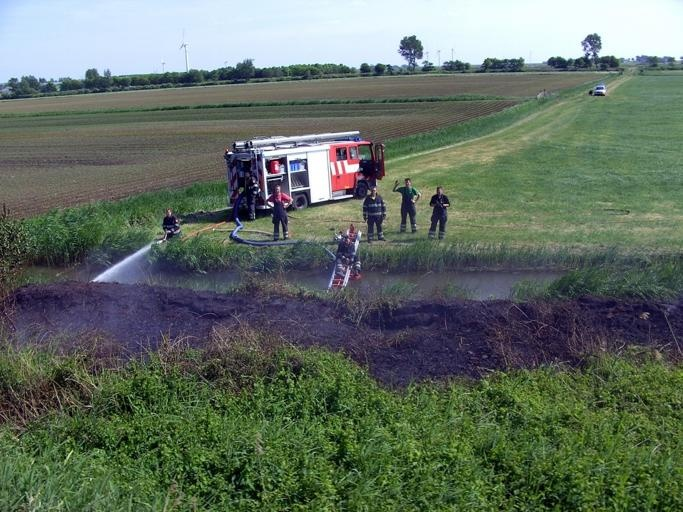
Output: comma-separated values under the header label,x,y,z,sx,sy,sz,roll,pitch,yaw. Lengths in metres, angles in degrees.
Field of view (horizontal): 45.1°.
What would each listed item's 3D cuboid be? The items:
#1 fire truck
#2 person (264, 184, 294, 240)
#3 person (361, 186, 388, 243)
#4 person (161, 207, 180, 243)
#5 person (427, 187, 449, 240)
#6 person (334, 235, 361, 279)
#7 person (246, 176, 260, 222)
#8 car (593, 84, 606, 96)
label,x,y,z,sx,sy,sz,roll,pitch,yaw
fire truck,-1.073,-2.939,28.914,2.298,2.706,5.918,2,12,44
person,-1.812,-1.348,25.011,0.709,1.425,2.782,-3,18,-5
person,0.946,-1.151,23.830,0.587,1.527,0.555,-2,17,1
person,-4.831,-0.899,23.397,0.470,0.938,0.879,-6,18,-13
person,2.810,-1.322,23.932,0.555,1.571,1.155,0,18,7
person,0.168,-0.020,21.377,0.403,1.424,0.605,1,-6,10
person,-2.839,-1.877,26.665,0.451,1.440,0.401,-4,17,-8
car,22.656,-14.528,72.372,1.124,1.194,2.307,1,8,30
